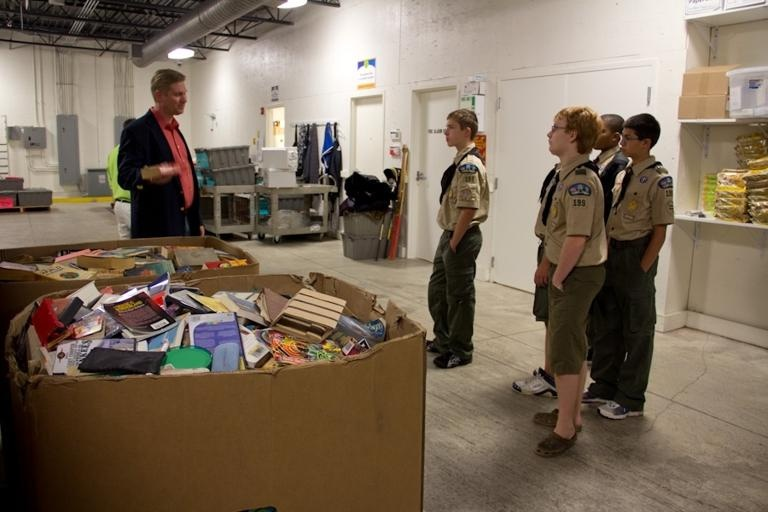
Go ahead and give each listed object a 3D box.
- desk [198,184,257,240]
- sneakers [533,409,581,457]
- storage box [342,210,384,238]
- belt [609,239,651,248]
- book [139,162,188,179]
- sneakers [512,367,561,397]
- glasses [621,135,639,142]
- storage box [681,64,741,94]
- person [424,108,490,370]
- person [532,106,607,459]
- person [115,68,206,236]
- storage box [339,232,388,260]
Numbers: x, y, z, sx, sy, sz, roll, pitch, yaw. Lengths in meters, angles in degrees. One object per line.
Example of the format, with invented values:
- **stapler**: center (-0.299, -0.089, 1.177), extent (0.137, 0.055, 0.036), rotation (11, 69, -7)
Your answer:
- **desk**: center (-2.876, -0.839, 9.437), extent (0.857, 1.025, 1.494), rotation (-4, 12, -24)
- **sneakers**: center (1.057, 1.133, 3.149), extent (0.318, 0.107, 0.192), rotation (-29, 23, -37)
- **storage box**: center (-0.310, -0.484, 7.740), extent (0.496, 0.325, 0.386), rotation (-1, 7, -32)
- **belt**: center (1.607, -0.089, 3.372), extent (0.240, 0.079, 0.078), rotation (5, 13, 25)
- **book**: center (-1.396, -0.532, 3.225), extent (0.238, 0.106, 0.077), rotation (-8, 14, -30)
- **sneakers**: center (1.107, 0.923, 3.736), extent (0.366, 0.185, 0.132), rotation (0, 8, 10)
- **glasses**: center (1.617, -0.781, 3.365), extent (0.096, 0.049, 0.039), rotation (6, 13, 28)
- **storage box**: center (2.789, -1.519, 4.438), extent (0.328, 0.217, 0.347), rotation (-14, 18, -41)
- **person**: center (0.581, -0.111, 3.981), extent (0.416, 2.018, 0.439), rotation (-7, 13, -26)
- **person**: center (1.069, 0.182, 2.906), extent (0.325, 2.012, 0.310), rotation (3, 13, 17)
- **person**: center (-1.475, -0.673, 3.347), extent (0.493, 1.125, 0.420), rotation (-6, 13, -25)
- **storage box**: center (-0.294, -0.157, 7.827), extent (0.506, 0.254, 0.405), rotation (-1, 7, -20)
